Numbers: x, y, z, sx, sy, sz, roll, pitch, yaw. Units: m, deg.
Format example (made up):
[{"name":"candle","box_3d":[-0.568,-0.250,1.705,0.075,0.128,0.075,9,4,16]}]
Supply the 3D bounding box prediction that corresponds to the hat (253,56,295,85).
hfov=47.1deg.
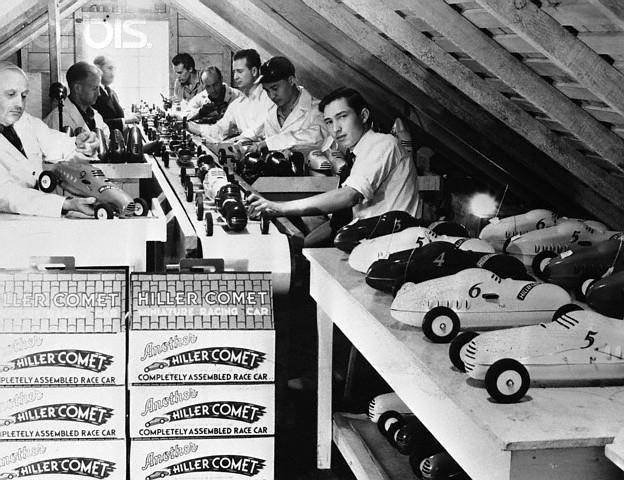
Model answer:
[{"name":"hat","box_3d":[-0.195,-0.956,4.025,0.161,0.094,0.128,0,28,11]}]

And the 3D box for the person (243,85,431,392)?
[{"name":"person","box_3d":[0.121,-0.362,3.649,0.835,0.821,0.568,-7,9,-37]}]

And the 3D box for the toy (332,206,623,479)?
[{"name":"toy","box_3d":[0.355,0.197,1.854,0.462,0.156,0.501,-3,29,-8]}]
